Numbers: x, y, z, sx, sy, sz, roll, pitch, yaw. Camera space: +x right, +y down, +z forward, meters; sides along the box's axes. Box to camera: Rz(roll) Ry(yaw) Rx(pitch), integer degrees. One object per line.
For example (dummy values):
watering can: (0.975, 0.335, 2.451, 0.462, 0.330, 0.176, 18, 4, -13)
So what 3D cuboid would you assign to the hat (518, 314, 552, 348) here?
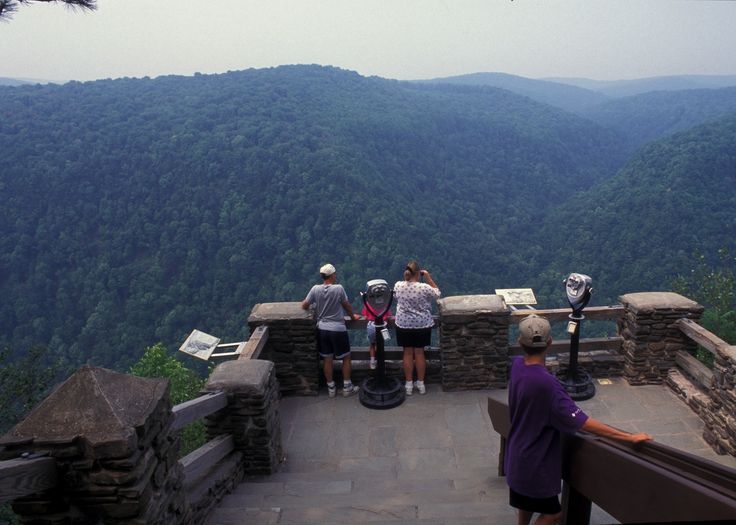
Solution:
hat: (1.205, 0.440, 4.082, 0.237, 0.153, 0.350, -5, 26, 8)

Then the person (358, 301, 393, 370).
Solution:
person: (0.087, 0.909, 6.901, 0.380, 0.886, 0.711, 4, 3, 1)

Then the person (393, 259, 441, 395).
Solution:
person: (0.548, 0.811, 6.691, 0.542, 1.647, 0.805, 4, 3, 7)

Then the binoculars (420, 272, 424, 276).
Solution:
binoculars: (0.633, 0.132, 6.596, 0.041, 0.076, 0.043, 1, 7, -2)

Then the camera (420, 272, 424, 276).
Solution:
camera: (0.641, 0.123, 6.601, 0.039, 0.040, 0.071, 5, 8, -1)

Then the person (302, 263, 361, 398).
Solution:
person: (-0.456, 0.836, 6.806, 0.635, 1.647, 0.715, 5, 3, 15)

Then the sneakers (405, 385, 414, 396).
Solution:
sneakers: (0.507, 1.562, 6.869, 0.080, 0.090, 0.214, -2, -15, -1)

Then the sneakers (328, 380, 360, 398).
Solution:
sneakers: (-0.357, 1.549, 6.966, 0.487, 0.209, 0.157, -2, 3, -25)
